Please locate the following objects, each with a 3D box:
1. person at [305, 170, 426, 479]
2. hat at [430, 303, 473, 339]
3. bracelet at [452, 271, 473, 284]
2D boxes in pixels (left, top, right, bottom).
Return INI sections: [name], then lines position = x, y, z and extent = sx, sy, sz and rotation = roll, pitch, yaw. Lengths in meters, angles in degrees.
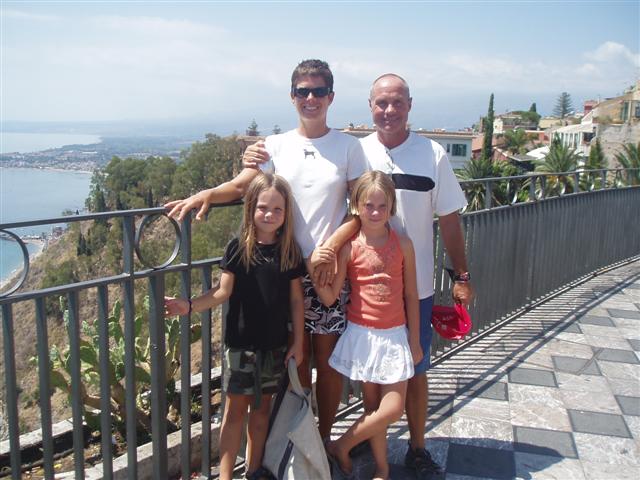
[person]
position = 0.268, 0.471, 2.649
extent = 0.559, 1.631, 0.387
rotation = 2, 13, 6
[hat]
position = 0.781, 0.467, 2.992
extent = 0.234, 0.182, 0.093
rotation = 48, 19, 30
[bracelet]
position = 0.853, 0.229, 3.009
extent = 0.092, 0.068, 0.102
rotation = -2, -10, -17
